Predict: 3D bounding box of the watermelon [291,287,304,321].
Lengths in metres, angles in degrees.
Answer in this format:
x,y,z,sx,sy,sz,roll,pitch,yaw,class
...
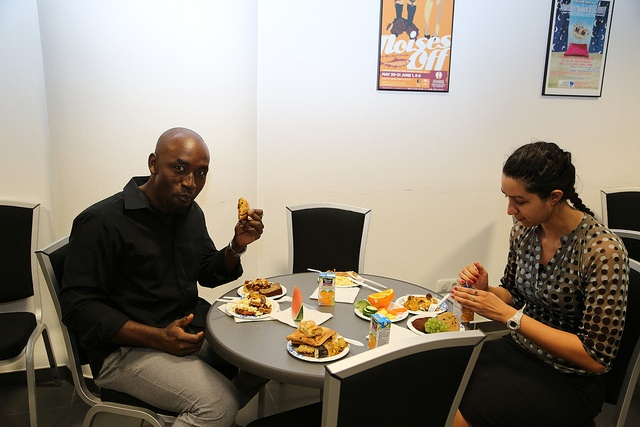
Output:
x,y,z,sx,sy,sz,roll,pitch,yaw,class
-0.118,0.472,2.188,0.047,0.141,0.141,-1,10,-15,watermelon

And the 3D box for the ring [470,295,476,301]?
x,y,z,sx,sy,sz,roll,pitch,yaw,class
0.765,0.427,2.146,0.018,0.024,0.007,14,0,24,ring

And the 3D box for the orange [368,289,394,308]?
x,y,z,sx,sy,sz,roll,pitch,yaw,class
0.328,0.458,2.309,0.097,0.064,0.100,-16,-15,-28,orange

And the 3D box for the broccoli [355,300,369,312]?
x,y,z,sx,sy,sz,roll,pitch,yaw,class
0.226,0.499,2.291,0.048,0.022,0.048,-7,12,-21,broccoli

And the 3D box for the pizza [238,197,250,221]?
x,y,z,sx,sy,sz,roll,pitch,yaw,class
-0.442,-0.026,2.535,0.080,0.133,0.041,-11,-8,38,pizza

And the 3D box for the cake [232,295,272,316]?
x,y,z,sx,sy,sz,roll,pitch,yaw,class
-0.361,0.488,2.236,0.118,0.047,0.117,0,7,-21,cake

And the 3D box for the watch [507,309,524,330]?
x,y,z,sx,sy,sz,roll,pitch,yaw,class
0.959,0.531,2.151,0.060,0.100,0.106,32,-14,23,watch

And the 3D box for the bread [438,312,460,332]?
x,y,z,sx,sy,sz,roll,pitch,yaw,class
0.644,0.543,2.133,0.077,0.023,0.079,17,32,2,bread

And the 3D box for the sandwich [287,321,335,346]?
x,y,z,sx,sy,sz,roll,pitch,yaw,class
-0.046,0.563,1.963,0.127,0.052,0.144,7,13,32,sandwich

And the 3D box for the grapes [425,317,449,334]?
x,y,z,sx,sy,sz,roll,pitch,yaw,class
0.562,0.554,2.091,0.103,0.047,0.089,-1,1,-44,grapes

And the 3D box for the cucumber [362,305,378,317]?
x,y,z,sx,sy,sz,roll,pitch,yaw,class
0.251,0.504,2.198,0.054,0.027,0.053,-12,17,-42,cucumber

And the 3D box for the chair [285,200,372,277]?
x,y,z,sx,sy,sz,roll,pitch,yaw,class
0.056,0.158,3.065,0.493,0.829,0.519,1,3,2,chair
